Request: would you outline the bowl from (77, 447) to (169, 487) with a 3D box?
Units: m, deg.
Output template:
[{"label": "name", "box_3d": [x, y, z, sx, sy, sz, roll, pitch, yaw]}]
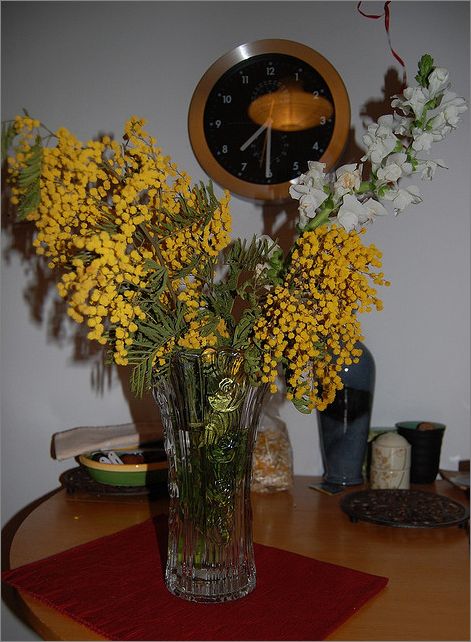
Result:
[{"label": "bowl", "box_3d": [-0.186, 0.279, 1.141, 0.185, 0.045, 0.175, -2, 0, 0]}]

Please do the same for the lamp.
[{"label": "lamp", "box_3d": [0.136, -0.465, 1.322, 0.159, 0.051, 0.158, -6, -12, 35]}]

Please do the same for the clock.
[{"label": "clock", "box_3d": [0.057, -0.441, 1.294, 0.440, 0.372, 0.087, 0, 8, 13]}]

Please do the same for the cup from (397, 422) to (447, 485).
[{"label": "cup", "box_3d": [0.366, 0.269, 1.193, 0.110, 0.112, 0.107, -1, -6, 0]}]

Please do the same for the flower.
[{"label": "flower", "box_3d": [0.023, -0.107, 0.762, 0.533, 0.427, 0.381, 0, 1, -2]}]
